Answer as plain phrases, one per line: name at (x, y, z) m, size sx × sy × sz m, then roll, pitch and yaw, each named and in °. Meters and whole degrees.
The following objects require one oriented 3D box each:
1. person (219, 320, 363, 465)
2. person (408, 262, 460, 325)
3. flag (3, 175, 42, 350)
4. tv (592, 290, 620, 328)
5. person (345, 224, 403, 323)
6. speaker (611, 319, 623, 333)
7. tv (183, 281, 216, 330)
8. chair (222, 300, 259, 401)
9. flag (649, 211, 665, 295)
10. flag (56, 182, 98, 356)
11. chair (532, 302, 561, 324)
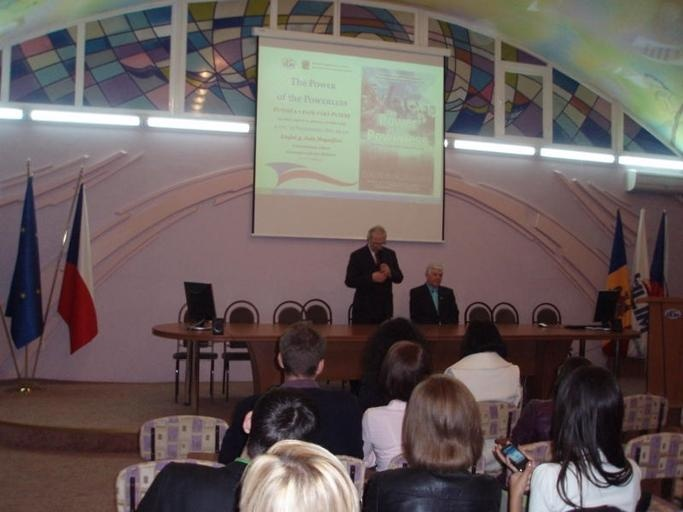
person at (-0.219, 0.773, 2.750) m, size 0.615 × 0.860 × 0.427 m, roll 0°, pitch 15°, yaw -19°
person at (0.979, 0.538, 5.628) m, size 0.483 × 0.899 × 0.482 m, roll 1°, pitch -1°, yaw -22°
flag at (-3.218, 0.052, 5.643) m, size 0.350 × 1.754 × 0.235 m, roll 2°, pitch -5°, yaw -19°
tv at (2.576, 0.489, 5.292) m, size 0.266 × 0.389 × 0.185 m, roll 3°, pitch -11°, yaw 11°
person at (0.325, 0.198, 5.469) m, size 0.550 × 0.947 × 0.699 m, roll 0°, pitch -5°, yaw 2°
speaker at (2.589, 0.656, 5.176) m, size 0.103 × 0.126 × 0.107 m, roll 1°, pitch -7°, yaw -6°
tv at (-1.196, 0.403, 4.635) m, size 0.361 × 0.376 × 0.198 m, roll 2°, pitch 5°, yaw 35°
chair at (-1.097, 1.000, 6.083) m, size 0.441 × 1.066 × 0.504 m, roll -1°, pitch -2°, yaw 2°
flag at (4.153, -0.040, 7.228) m, size 0.205 × 1.107 × 0.511 m, roll -2°, pitch -5°, yaw 31°
flag at (-2.740, 0.117, 5.786) m, size 0.365 × 1.747 × 0.174 m, roll 3°, pitch -5°, yaw -30°
chair at (2.561, 0.719, 6.907) m, size 0.183 × 0.335 × 0.207 m, roll 1°, pitch -16°, yaw 8°
